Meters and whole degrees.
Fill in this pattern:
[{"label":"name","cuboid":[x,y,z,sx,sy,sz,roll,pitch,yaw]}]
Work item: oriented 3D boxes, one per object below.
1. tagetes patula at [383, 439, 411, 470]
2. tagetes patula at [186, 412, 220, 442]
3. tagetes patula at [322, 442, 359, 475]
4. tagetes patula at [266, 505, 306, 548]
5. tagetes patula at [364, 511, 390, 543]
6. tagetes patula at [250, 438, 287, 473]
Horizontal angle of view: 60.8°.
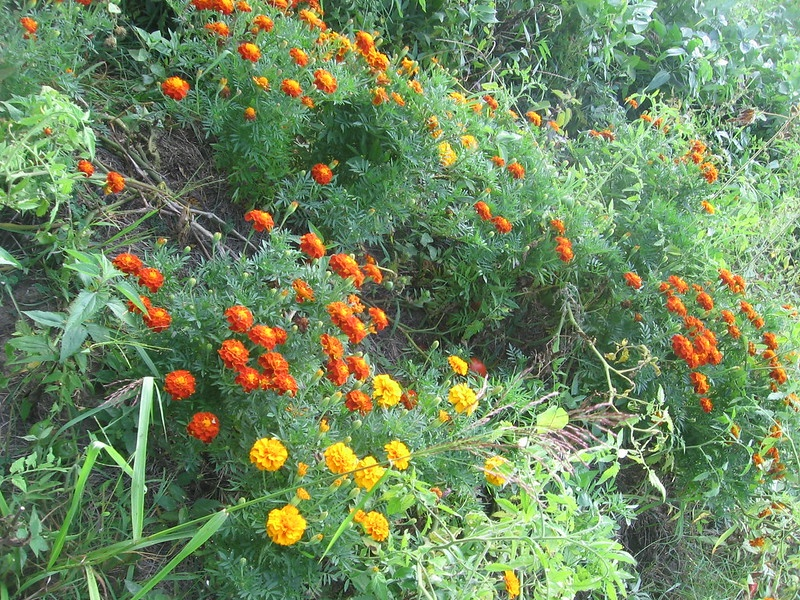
[{"label":"tagetes patula","cuboid":[0.003,0.605,2.666,0.112,0.045,0.109,44,44,-4]},{"label":"tagetes patula","cuboid":[-0.734,0.477,2.567,0.106,0.070,0.102,31,69,-1]},{"label":"tagetes patula","cuboid":[-0.220,0.598,2.546,0.109,0.042,0.110,22,32,-14]},{"label":"tagetes patula","cuboid":[-0.416,0.819,2.477,0.138,0.106,0.127,-22,78,-18]},{"label":"tagetes patula","cuboid":[-0.090,0.866,2.608,0.106,0.039,0.100,36,26,-13]},{"label":"tagetes patula","cuboid":[-0.483,0.571,2.517,0.127,0.045,0.110,-3,73,-13]}]
